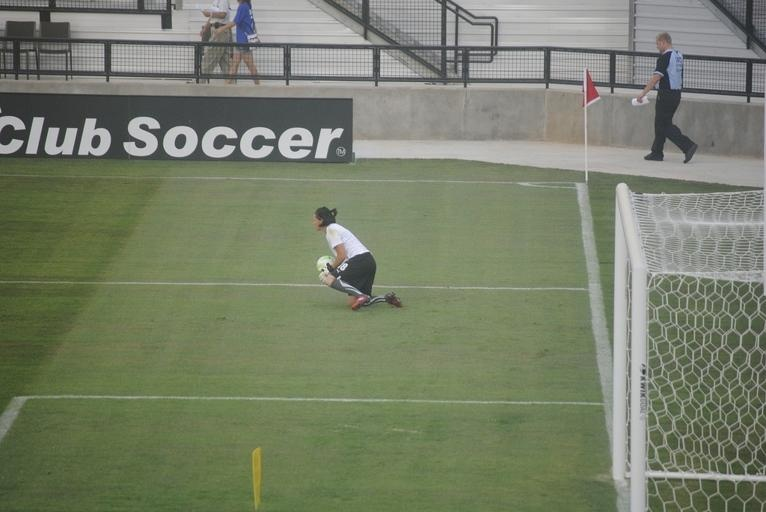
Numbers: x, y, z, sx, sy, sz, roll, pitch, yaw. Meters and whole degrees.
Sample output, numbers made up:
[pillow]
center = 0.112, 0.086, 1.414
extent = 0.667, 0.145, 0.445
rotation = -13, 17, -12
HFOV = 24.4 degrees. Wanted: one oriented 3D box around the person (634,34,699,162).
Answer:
[person]
center = 5.920, -3.297, 37.191
extent = 1.178, 2.682, 0.972
rotation = 1, 4, -9
